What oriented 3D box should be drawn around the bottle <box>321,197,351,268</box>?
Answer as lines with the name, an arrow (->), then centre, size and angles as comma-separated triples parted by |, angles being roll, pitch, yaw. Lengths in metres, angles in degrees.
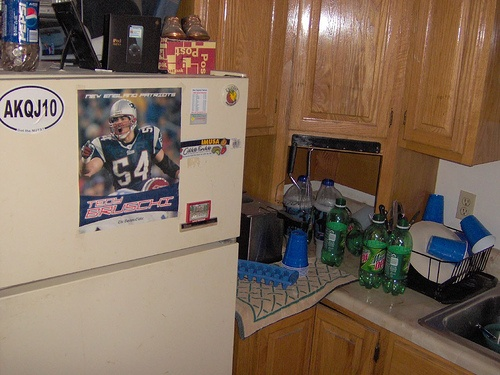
bottle -> 0.398, 0.202, 1.885 | 0.109, 0.305, 0.216 | 6, 18, 14

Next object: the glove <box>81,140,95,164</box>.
glove -> -0.399, -0.088, 0.997 | 0.028, 0.052, 0.016 | 15, -2, -41

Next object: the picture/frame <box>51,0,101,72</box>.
picture/frame -> -0.509, -0.435, 1.166 | 0.103, 0.181, 0.166 | -11, 22, -35

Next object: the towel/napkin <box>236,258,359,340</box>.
towel/napkin -> 0.132, 0.373, 1.597 | 0.368, 0.539, 0.074 | 27, 43, -5

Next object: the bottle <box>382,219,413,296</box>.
bottle -> 0.623, 0.275, 1.692 | 0.098, 0.302, 0.185 | 9, 19, 23

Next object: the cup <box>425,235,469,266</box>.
cup -> 0.844, 0.244, 1.738 | 0.155, 0.114, 0.115 | 8, 13, 6

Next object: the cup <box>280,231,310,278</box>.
cup -> 0.194, 0.305, 1.738 | 0.111, 0.159, 0.113 | -4, -4, 0

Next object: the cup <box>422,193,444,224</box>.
cup -> 0.973, 0.115, 2.132 | 0.097, 0.141, 0.108 | 11, 20, 27
